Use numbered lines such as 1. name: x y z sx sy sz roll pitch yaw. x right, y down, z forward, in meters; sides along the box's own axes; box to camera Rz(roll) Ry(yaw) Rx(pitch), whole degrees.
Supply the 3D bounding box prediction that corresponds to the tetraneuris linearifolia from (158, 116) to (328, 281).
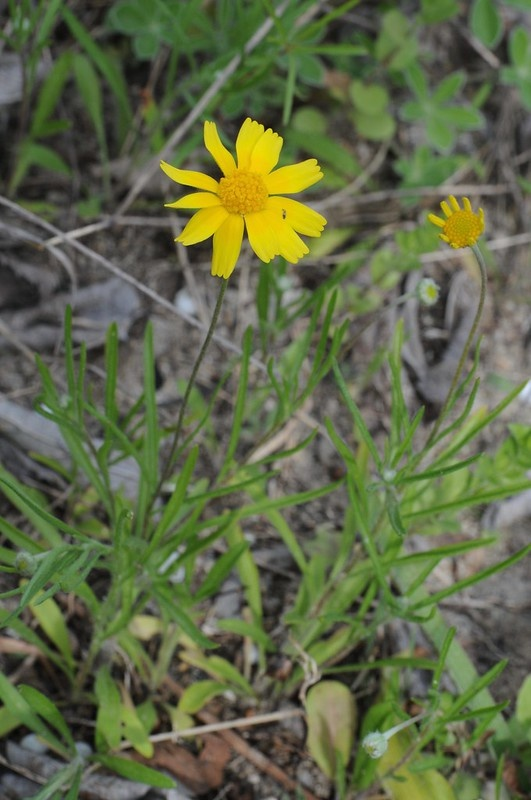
1. tetraneuris linearifolia: -0.027 -0.298 0.963 0.230 0.223 0.054 19 78 -13
